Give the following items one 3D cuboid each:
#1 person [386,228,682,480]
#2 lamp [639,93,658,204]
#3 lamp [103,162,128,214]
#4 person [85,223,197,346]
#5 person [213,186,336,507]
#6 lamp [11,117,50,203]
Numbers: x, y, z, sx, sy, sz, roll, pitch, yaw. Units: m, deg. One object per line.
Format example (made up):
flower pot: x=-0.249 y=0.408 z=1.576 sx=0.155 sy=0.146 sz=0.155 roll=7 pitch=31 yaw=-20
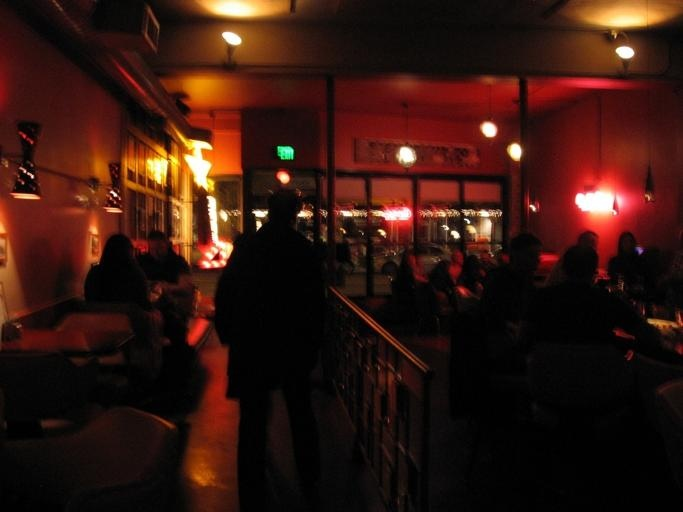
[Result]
person: x=1.512 y=0.503 z=4.731 sx=1.684 sy=1.440 sz=1.147 roll=1 pitch=1 yaw=11
lamp: x=4.792 y=-1.658 z=9.271 sx=0.238 sy=1.650 sz=0.289 roll=1 pitch=4 yaw=-33
lamp: x=-2.711 y=-0.819 z=7.120 sx=0.214 sy=0.632 sz=0.685 roll=1 pitch=4 yaw=-20
person: x=-2.066 y=0.215 z=6.542 sx=0.916 sy=1.309 sz=1.257 roll=-8 pitch=-21 yaw=15
person: x=-0.527 y=0.649 z=4.338 sx=0.811 sy=2.266 sz=0.414 roll=2 pitch=3 yaw=-3
lamp: x=-2.746 y=-0.846 z=5.199 sx=0.218 sy=0.712 sz=0.497 roll=1 pitch=4 yaw=-29
